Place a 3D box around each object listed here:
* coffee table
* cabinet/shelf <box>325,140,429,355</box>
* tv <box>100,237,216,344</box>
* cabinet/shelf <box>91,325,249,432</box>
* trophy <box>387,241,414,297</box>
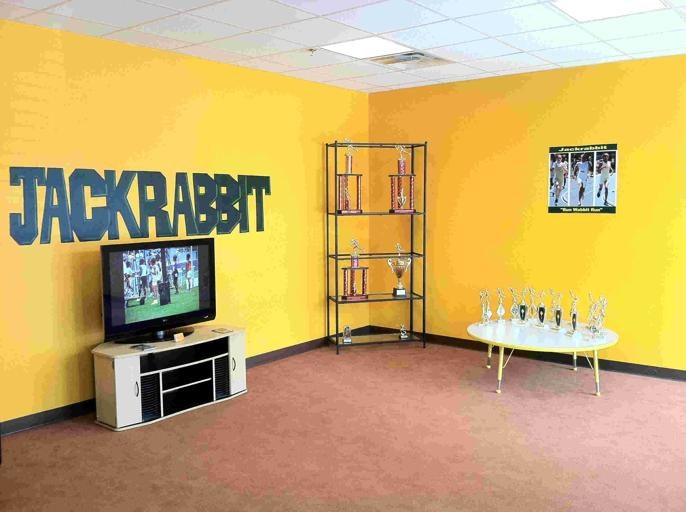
[{"bbox_3d":[2.158,0.952,5.745,1.841,0.724,1.518,2,4,37],"label":"coffee table"},{"bbox_3d":[0.446,-0.191,7.062,1.408,2.720,1.136,-1,10,-2],"label":"cabinet/shelf"},{"bbox_3d":[-1.793,0.300,5.029,0.321,0.881,1.172,5,4,33],"label":"tv"},{"bbox_3d":[-1.626,1.125,5.005,1.360,0.682,0.379,-8,13,-40],"label":"cabinet/shelf"},{"bbox_3d":[0.760,0.178,7.057,0.332,0.690,0.626,0,10,5],"label":"trophy"}]
